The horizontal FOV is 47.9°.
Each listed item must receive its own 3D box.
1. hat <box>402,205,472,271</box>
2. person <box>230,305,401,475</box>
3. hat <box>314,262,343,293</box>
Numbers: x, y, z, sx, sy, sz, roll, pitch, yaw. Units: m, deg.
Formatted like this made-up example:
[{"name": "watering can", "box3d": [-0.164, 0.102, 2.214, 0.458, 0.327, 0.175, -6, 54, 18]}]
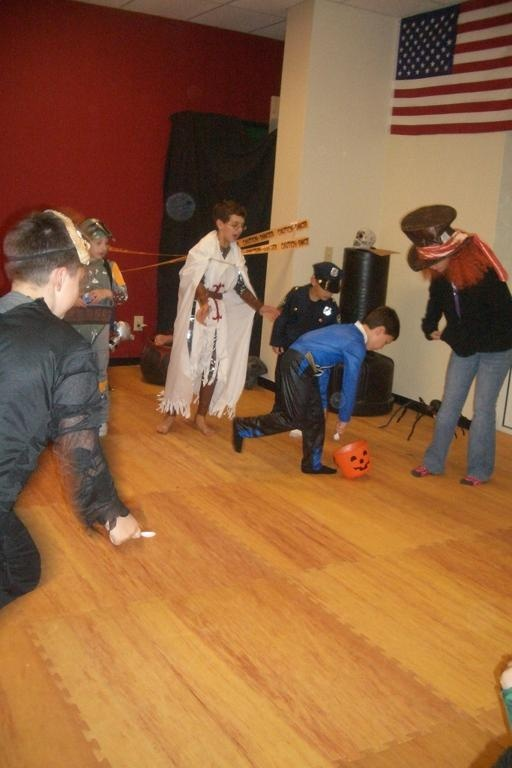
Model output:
[{"name": "hat", "box3d": [0.996, -0.865, 3.354, 0.328, 0.395, 0.356, 6, 11, 0]}, {"name": "person", "box3d": [0.330, 0.015, 3.582, 0.872, 1.049, 0.432, 11, 12, 27]}, {"name": "hat", "box3d": [0.484, -0.724, 3.892, 0.189, 0.201, 0.152, 7, 11, 4]}]
